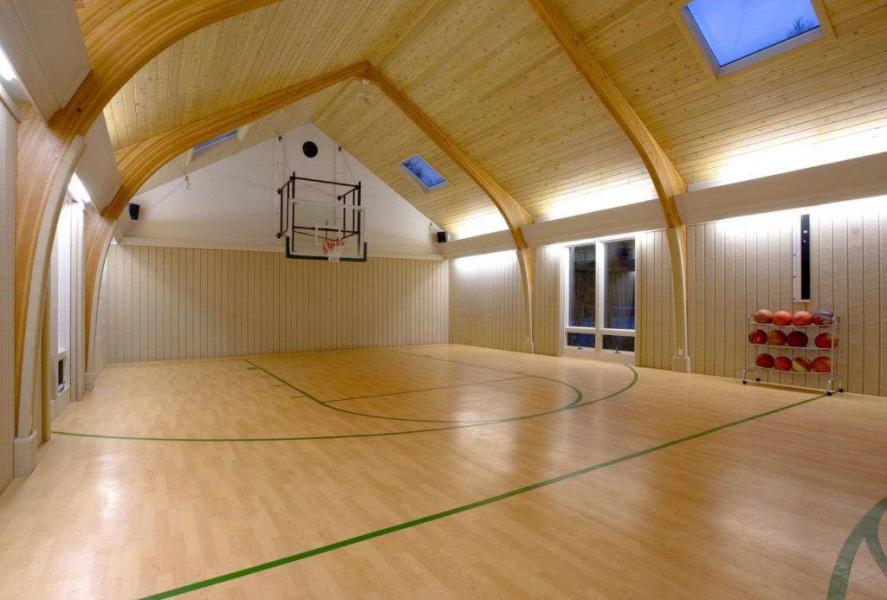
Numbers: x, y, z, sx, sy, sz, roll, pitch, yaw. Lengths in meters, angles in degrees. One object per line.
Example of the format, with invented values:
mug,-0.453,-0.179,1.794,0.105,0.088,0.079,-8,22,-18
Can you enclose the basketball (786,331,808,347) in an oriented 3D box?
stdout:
basketball,5.390,0.597,7.990,0.238,0.229,0.136,5,14,23

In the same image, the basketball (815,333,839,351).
basketball,5.595,0.633,7.696,0.276,0.235,0.247,-2,-5,-8

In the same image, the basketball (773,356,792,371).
basketball,5.260,0.994,8.106,0.226,0.176,0.227,-4,-11,41

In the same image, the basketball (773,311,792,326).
basketball,5.221,0.282,8.048,0.245,0.207,0.187,7,14,31

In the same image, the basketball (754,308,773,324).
basketball,4.998,0.250,8.248,0.225,0.225,0.215,-12,8,-4

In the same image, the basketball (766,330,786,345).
basketball,5.149,0.611,8.177,0.236,0.251,0.230,-7,-7,-23

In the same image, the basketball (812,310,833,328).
basketball,5.568,0.270,7.677,0.261,0.207,0.209,15,26,38

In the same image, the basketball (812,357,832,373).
basketball,5.576,0.972,7.787,0.231,0.247,0.223,-8,9,22

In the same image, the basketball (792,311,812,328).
basketball,5.364,0.294,7.859,0.267,0.187,0.190,-2,26,-11

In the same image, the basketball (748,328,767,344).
basketball,4.994,0.575,8.324,0.235,0.216,0.227,1,-13,-9

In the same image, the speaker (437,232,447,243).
speaker,-0.044,-1.772,14.504,0.268,0.309,0.145,7,14,30

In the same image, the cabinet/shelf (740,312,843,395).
cabinet/shelf,5.394,0.831,8.009,0.520,1.168,1.249,3,-4,-38
